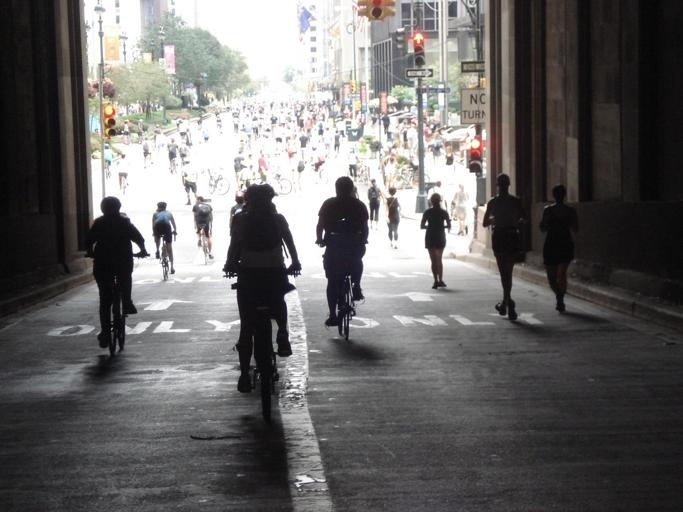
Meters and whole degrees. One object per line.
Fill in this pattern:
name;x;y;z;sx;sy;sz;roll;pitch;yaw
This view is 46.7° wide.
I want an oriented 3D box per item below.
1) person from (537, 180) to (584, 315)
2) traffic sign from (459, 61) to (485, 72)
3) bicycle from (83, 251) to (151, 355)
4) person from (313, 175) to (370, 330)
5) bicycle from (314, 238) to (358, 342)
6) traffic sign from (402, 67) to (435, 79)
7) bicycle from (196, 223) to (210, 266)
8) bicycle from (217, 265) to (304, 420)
person;4.027;-0.146;14.555;0.623;2.207;0.745;7;13;40
traffic sign;4.754;-6.837;28.731;0.812;0.356;0.685;0;12;5
bicycle;-3.377;0.751;11.627;0.531;1.391;1.103;0;11;4
person;0.019;-0.013;12.274;0.774;2.350;0.588;-1;10;-1
bicycle;-0.047;0.557;12.212;0.552;0.884;1.324;-3;19;-3
traffic sign;3.254;-7.668;33.245;0.929;0.368;2.360;2;13;14
bicycle;-4.560;-0.392;26.325;0.411;1.505;1.719;-2;11;-9
bicycle;-0.813;1.018;8.556;0.610;0.976;1.423;0;0;-4
